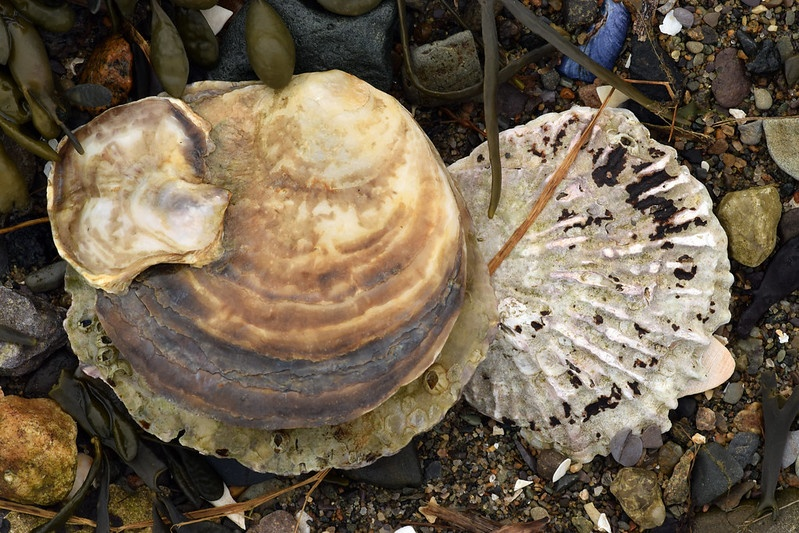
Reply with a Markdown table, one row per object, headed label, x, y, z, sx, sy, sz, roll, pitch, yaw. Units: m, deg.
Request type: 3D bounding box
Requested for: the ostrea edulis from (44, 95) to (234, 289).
| label | x | y | z | sx | sy | sz | roll | pitch | yaw |
| --- | --- | --- | --- | --- | --- | --- | --- | --- | --- |
| ostrea edulis | -1.276 | -0.356 | 4.517 | 0.242 | 0.961 | 0.975 | 31 | 76 | -25 |
